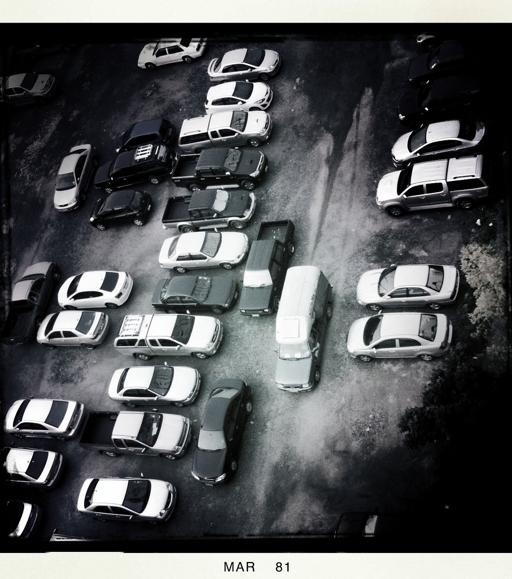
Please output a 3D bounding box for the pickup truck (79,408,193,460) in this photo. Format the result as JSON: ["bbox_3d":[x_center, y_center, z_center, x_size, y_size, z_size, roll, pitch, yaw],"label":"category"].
[{"bbox_3d":[-4.139,4.951,20.021,3.815,1.352,1.492,-2,54,16],"label":"pickup truck"}]

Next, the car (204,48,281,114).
[{"bbox_3d":[-0.897,-10.261,28.242,3.836,1.226,3.527,3,57,19],"label":"car"}]

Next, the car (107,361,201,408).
[{"bbox_3d":[-3.731,3.474,21.043,3.396,1.148,1.546,-3,52,17],"label":"car"}]

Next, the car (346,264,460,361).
[{"bbox_3d":[4.977,0.819,19.580,3.429,1.194,3.360,5,58,20],"label":"car"}]

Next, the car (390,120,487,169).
[{"bbox_3d":[7.163,-5.639,22.798,3.178,1.145,1.448,-5,64,28],"label":"car"}]

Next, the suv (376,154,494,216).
[{"bbox_3d":[6.697,-3.852,21.712,3.739,1.473,1.674,-3,73,24],"label":"suv"}]

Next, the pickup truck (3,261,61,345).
[{"bbox_3d":[-9.468,0.472,24.758,1.562,1.193,3.507,6,69,24],"label":"pickup truck"}]

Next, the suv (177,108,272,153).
[{"bbox_3d":[-1.470,-7.539,26.749,4.187,1.513,1.873,-5,59,18],"label":"suv"}]

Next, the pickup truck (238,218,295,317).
[{"bbox_3d":[0.383,-1.052,21.940,1.768,1.398,4.118,9,75,27],"label":"pickup truck"}]

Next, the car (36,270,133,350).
[{"bbox_3d":[-7.051,0.716,23.912,2.765,1.070,3.814,13,61,24],"label":"car"}]

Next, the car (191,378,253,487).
[{"bbox_3d":[-0.988,4.598,19.221,1.444,1.169,3.451,8,71,18],"label":"car"}]

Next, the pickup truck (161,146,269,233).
[{"bbox_3d":[-1.903,-4.404,25.206,4.188,1.657,3.849,4,58,19],"label":"pickup truck"}]

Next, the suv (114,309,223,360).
[{"bbox_3d":[-3.270,1.868,22.053,3.593,1.258,1.794,-3,59,12],"label":"suv"}]

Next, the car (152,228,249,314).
[{"bbox_3d":[-1.882,-0.138,24.115,3.448,1.212,3.427,-10,60,18],"label":"car"}]
